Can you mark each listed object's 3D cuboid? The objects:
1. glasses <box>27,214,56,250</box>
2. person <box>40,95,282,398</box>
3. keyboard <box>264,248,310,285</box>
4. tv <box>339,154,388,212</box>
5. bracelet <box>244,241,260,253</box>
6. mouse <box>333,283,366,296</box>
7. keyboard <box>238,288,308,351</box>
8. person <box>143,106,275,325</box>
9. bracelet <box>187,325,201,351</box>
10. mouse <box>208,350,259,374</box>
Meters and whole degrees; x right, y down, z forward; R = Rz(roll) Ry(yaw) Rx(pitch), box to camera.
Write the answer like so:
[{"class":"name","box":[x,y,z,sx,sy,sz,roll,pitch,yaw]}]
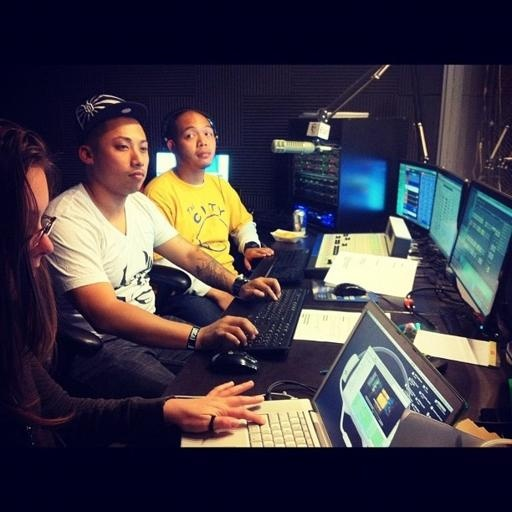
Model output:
[{"class":"glasses","box":[-0.588,-0.069,1.217,0.099,0.031,0.100,-8,30,-1]},{"class":"person","box":[-0.439,-0.144,2.010,0.967,1.666,0.797,1,9,8]},{"class":"keyboard","box":[0.133,0.055,1.748,0.179,0.039,0.581,-3,-21,5]},{"class":"tv","box":[0.514,-0.351,2.147,0.236,0.283,0.067,-5,21,-11]},{"class":"bracelet","box":[-0.020,-0.038,2.071,0.047,0.022,0.049,-3,43,-8]},{"class":"mouse","box":[0.291,0.109,1.360,0.075,0.027,0.042,-2,19,-4]},{"class":"keyboard","box":[0.054,0.178,1.159,0.082,0.038,0.242,-10,17,12]},{"class":"person","box":[-0.230,-0.204,2.165,0.609,0.999,0.635,4,12,22]},{"class":"bracelet","box":[-0.162,0.211,1.128,0.032,0.055,0.051,10,66,9]},{"class":"mouse","box":[-0.046,0.237,0.955,0.084,0.028,0.051,-1,23,3]}]
